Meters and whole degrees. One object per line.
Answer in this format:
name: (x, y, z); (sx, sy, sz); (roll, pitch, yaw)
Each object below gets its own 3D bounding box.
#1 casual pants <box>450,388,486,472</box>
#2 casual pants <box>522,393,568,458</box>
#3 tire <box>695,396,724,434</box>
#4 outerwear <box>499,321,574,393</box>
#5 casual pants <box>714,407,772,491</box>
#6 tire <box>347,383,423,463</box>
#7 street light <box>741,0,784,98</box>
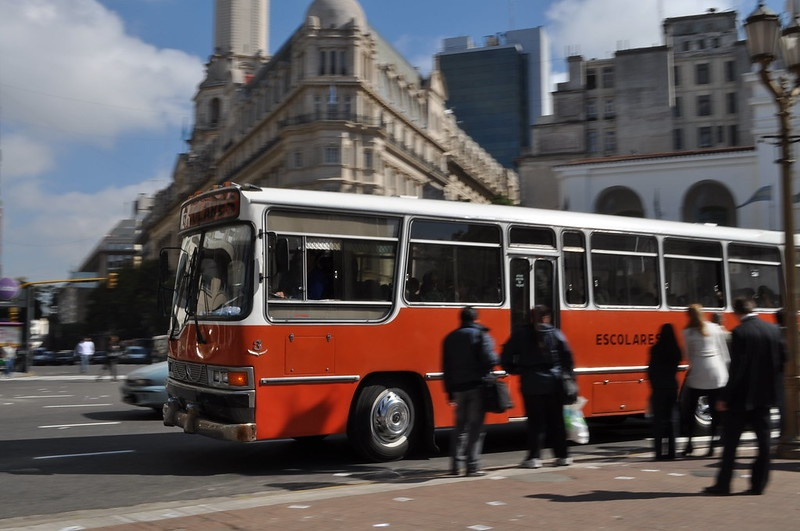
casual pants: (1.092, 2.597, 14.453); (0.522, 1.341, 0.229); (-1, 2, 2)
casual pants: (2.176, 2.631, 15.052); (0.380, 1.139, 0.585); (-27, -27, 32)
tire: (6.064, 2.932, 18.382); (0.321, 0.559, 0.942); (-3, 1, 24)
outerwear: (2.186, 1.564, 15.157); (1.410, 1.193, 0.711); (1, -13, -24)
casual pants: (5.082, 2.724, 13.592); (1.015, 0.557, 2.623); (9, -22, 18)
tire: (-0.237, 2.584, 15.354); (1.510, 1.327, 0.566); (2, -11, -38)
street light: (6.137, -3.660, 15.570); (0.596, 1.618, 0.966); (0, 2, 20)
